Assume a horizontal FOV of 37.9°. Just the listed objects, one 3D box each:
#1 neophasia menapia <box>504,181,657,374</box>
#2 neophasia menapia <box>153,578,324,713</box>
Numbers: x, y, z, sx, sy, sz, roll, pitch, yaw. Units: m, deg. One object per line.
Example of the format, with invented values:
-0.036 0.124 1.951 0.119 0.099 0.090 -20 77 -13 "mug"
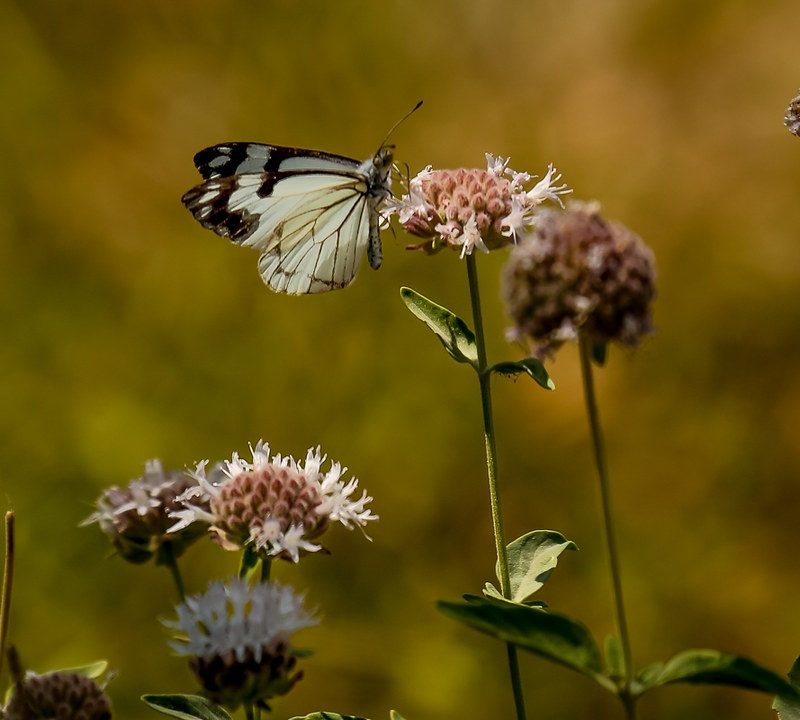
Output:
0.435 -0.221 2.849 0.291 0.366 0.433 -2 -84 4 "neophasia menapia"
-0.425 0.705 2.982 0.292 0.357 0.381 4 -44 4 "neophasia menapia"
